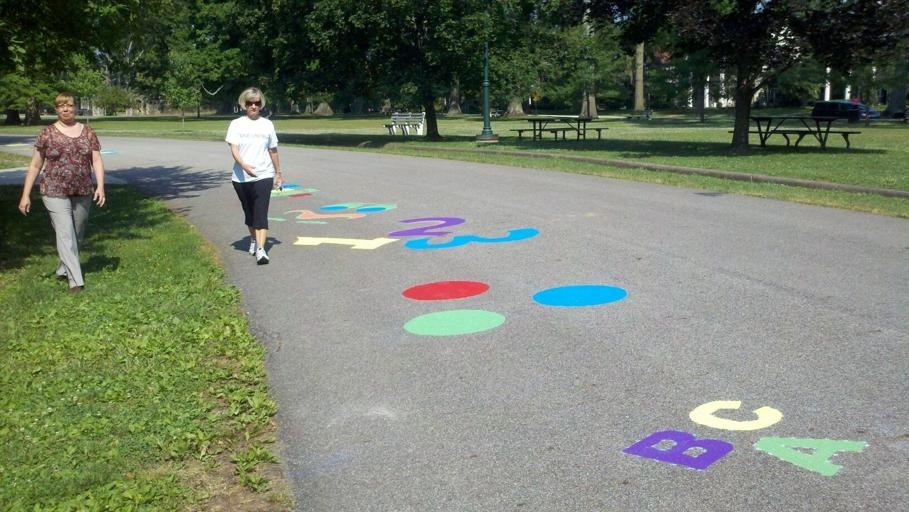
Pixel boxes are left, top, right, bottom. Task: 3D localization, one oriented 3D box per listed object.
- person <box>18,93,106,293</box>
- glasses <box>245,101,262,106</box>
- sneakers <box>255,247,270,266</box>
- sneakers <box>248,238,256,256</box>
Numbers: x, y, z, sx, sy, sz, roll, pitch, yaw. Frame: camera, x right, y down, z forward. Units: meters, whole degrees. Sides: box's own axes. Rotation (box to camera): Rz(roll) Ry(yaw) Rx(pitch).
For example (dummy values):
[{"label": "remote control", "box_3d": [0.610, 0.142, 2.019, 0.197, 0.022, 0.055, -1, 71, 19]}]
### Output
[{"label": "person", "box_3d": [-5.737, -0.998, 10.268, 1.104, 2.726, 1.586, -7, 15, -27]}, {"label": "glasses", "box_3d": [-3.277, -2.467, 11.307, 0.319, 0.090, 0.232, -1, 14, -3]}, {"label": "sneakers", "box_3d": [-3.124, -0.009, 11.373, 0.208, 0.270, 0.216, -4, 14, -14]}, {"label": "sneakers", "box_3d": [-3.414, -0.178, 11.900, 0.159, 0.185, 0.450, -2, 28, -13]}]
